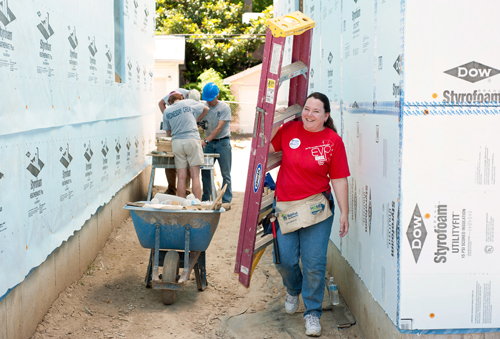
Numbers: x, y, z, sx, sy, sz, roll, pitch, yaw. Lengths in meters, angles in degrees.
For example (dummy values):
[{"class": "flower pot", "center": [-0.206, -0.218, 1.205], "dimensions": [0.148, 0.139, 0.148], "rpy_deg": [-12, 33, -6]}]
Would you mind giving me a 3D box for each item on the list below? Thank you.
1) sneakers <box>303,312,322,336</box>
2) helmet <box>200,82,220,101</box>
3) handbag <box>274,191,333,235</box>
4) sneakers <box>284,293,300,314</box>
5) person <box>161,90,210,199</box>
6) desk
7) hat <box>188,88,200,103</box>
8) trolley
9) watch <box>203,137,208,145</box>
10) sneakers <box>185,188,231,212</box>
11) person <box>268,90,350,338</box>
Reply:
[{"class": "sneakers", "center": [0.636, 1.571, 4.350], "dimensions": [0.109, 0.119, 0.252], "rpy_deg": [1, -3, -2]}, {"class": "helmet", "center": [-0.709, -1.415, 7.837], "dimensions": [0.258, 0.356, 0.198], "rpy_deg": [23, -24, 6]}, {"class": "handbag", "center": [0.504, 0.428, 4.220], "dimensions": [0.462, 0.421, 0.174], "rpy_deg": [-15, -1, 9]}, {"class": "sneakers", "center": [0.464, 1.468, 4.775], "dimensions": [0.097, 0.287, 0.127], "rpy_deg": [3, -11, 27]}, {"class": "person", "center": [-1.089, -0.376, 7.371], "dimensions": [0.742, 1.626, 0.663], "rpy_deg": [-1, 13, -8]}, {"class": "desk", "center": [-1.290, 0.132, 7.909], "dimensions": [1.213, 0.974, 0.964], "rpy_deg": [-2, 5, -17]}, {"class": "hat", "center": [-0.973, -1.359, 7.688], "dimensions": [0.190, 0.268, 0.259], "rpy_deg": [4, -9, -12]}, {"class": "trolley", "center": [-0.909, 0.965, 5.419], "dimensions": [1.154, 1.141, 1.872], "rpy_deg": [3, -3, -3]}, {"class": "watch", "center": [-0.790, -0.532, 7.770], "dimensions": [0.097, 0.104, 0.097], "rpy_deg": [-5, 1, 5]}, {"class": "sneakers", "center": [-0.521, 0.381, 5.006], "dimensions": [0.403, 0.184, 0.299], "rpy_deg": [2, 3, -1]}, {"class": "person", "center": [0.591, 0.413, 4.481], "dimensions": [0.778, 2.407, 0.587], "rpy_deg": [13, 18, 42]}]
